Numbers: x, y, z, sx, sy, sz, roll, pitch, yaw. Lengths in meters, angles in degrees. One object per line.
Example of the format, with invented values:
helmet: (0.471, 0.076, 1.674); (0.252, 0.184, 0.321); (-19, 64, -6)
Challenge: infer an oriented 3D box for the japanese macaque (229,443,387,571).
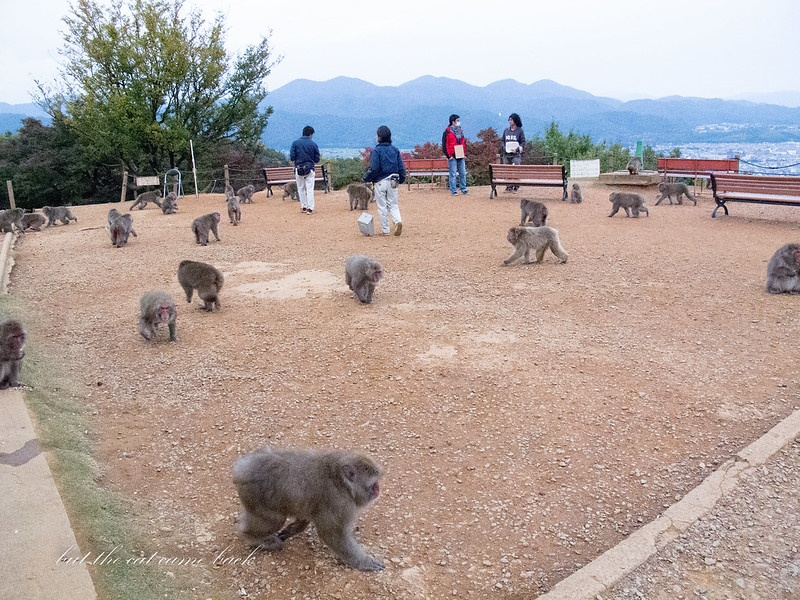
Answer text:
japanese macaque: (-0.675, 1.444, 4.120); (1.272, 0.928, 0.640); (14, 16, -19)
